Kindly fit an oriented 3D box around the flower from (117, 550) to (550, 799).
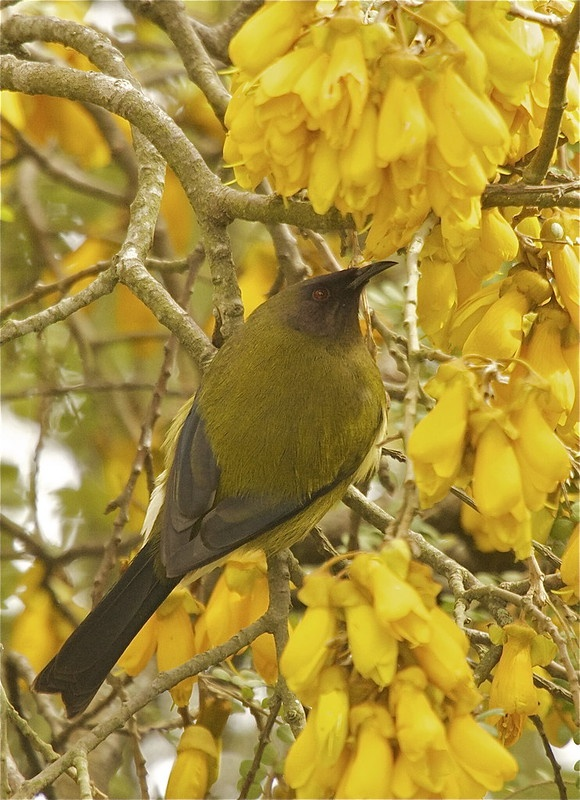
[{"bbox_3d":[0.124,0.426,1.540,0.454,0.452,0.207,0,-49,-22],"label":"flower"}]
